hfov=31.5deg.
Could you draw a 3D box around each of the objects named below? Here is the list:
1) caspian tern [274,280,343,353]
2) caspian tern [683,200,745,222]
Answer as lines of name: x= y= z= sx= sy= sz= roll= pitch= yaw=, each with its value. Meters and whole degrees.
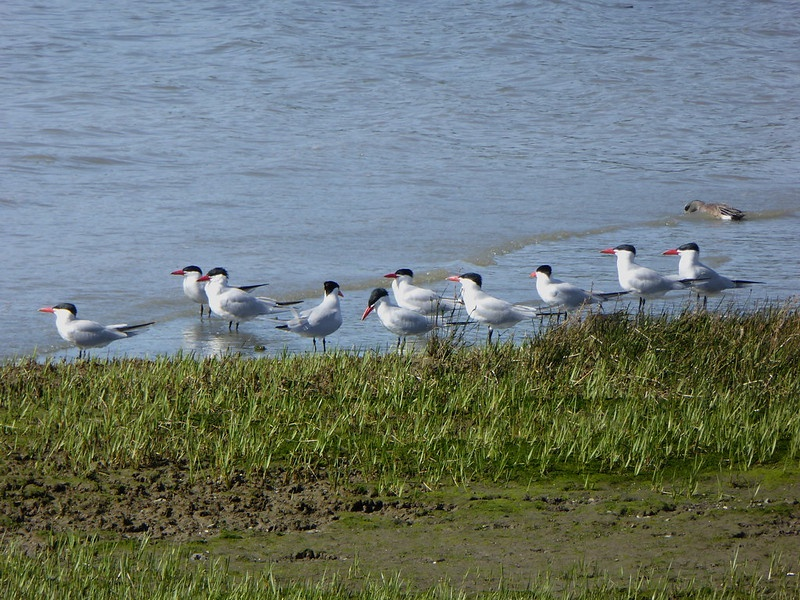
caspian tern: x=-1.632 y=0.354 z=28.170 sx=1.053 sy=1.326 sz=1.090 roll=-4 pitch=8 yaw=16
caspian tern: x=8.503 y=-2.420 z=38.841 sx=1.854 sy=0.478 sz=0.685 roll=6 pitch=33 yaw=36
